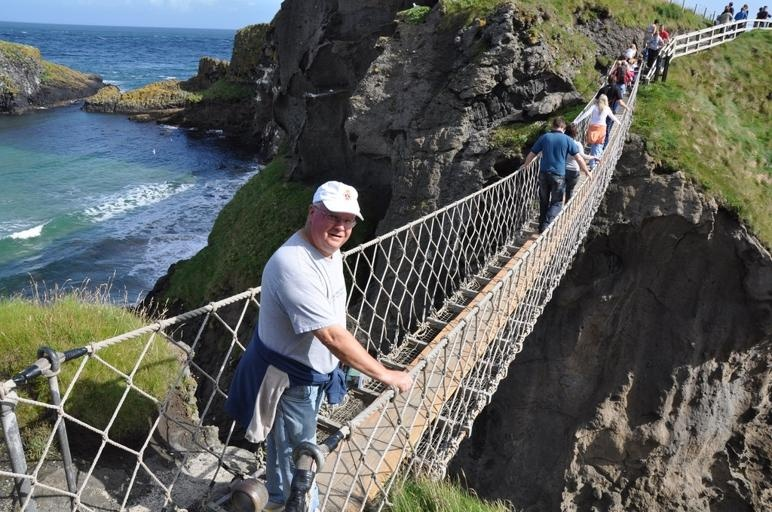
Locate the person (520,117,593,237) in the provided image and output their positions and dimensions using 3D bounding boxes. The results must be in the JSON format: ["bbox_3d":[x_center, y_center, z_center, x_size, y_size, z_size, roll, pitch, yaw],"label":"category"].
[{"bbox_3d":[2.788,-1.307,10.468,0.985,1.943,0.659,13,21,11],"label":"person"}]

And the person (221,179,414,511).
[{"bbox_3d":[-0.941,1.055,7.041,1.555,3.633,1.114,2,21,-16],"label":"person"}]
